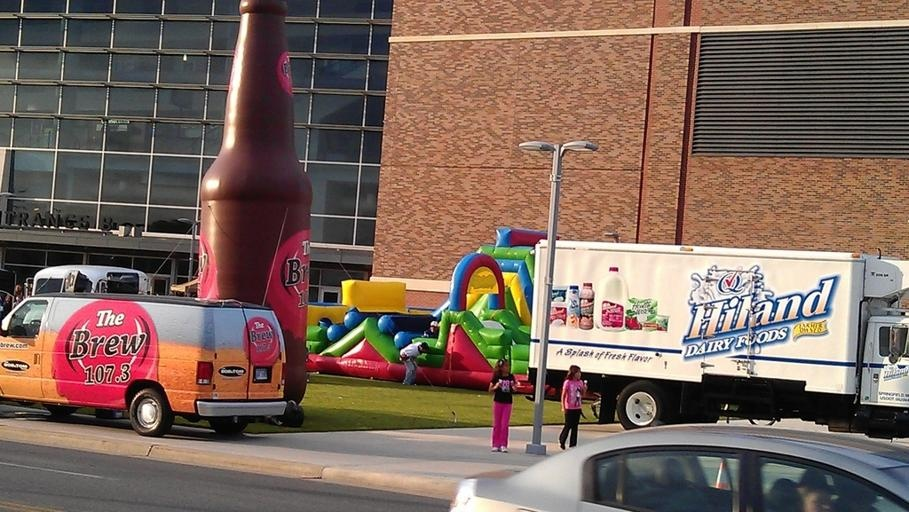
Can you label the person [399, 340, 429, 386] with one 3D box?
[{"bbox_3d":[-1.967,5.205,76.122,1.143,2.091,1.080,1,-4,20],"label":"person"}]
